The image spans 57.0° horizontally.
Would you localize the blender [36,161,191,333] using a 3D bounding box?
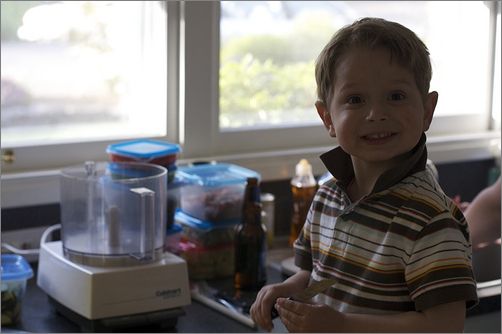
[{"bbox_3d":[-0.355,0.192,1.406,0.333,0.468,0.485,-4,8,-34],"label":"blender"}]
